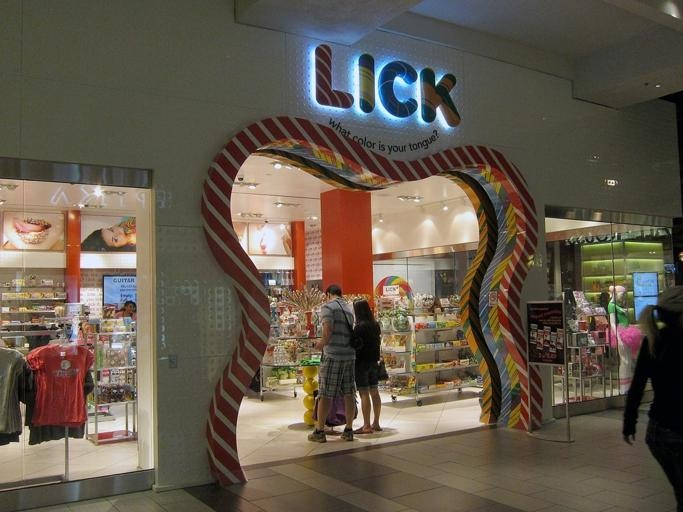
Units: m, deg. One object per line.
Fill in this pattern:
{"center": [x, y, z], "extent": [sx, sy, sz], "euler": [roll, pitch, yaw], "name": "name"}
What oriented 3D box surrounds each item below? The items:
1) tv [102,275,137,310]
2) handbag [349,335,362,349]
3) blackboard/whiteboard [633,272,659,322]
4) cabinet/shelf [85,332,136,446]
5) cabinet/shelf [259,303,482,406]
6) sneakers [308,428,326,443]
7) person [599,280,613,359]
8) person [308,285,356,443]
{"center": [-2.256, 0.371, 5.947], "extent": [0.295, 0.312, 0.029], "euler": [-10, -2, -8], "name": "tv"}
{"center": [0.179, 1.093, 7.384], "extent": [0.114, 0.161, 0.154], "euler": [0, -4, 39], "name": "handbag"}
{"center": [4.205, 0.565, 8.183], "extent": [0.756, 0.908, 0.045], "euler": [2, -1, -26], "name": "blackboard/whiteboard"}
{"center": [-2.304, 1.325, 5.923], "extent": [0.468, 1.081, 0.275], "euler": [1, -2, -23], "name": "cabinet/shelf"}
{"center": [1.199, 1.629, 10.452], "extent": [1.798, 1.846, 2.715], "euler": [-8, -9, 42], "name": "cabinet/shelf"}
{"center": [-0.286, 2.275, 7.426], "extent": [0.111, 0.123, 0.261], "euler": [1, -3, -19], "name": "sneakers"}
{"center": [4.054, 1.009, 9.021], "extent": [0.359, 1.102, 0.111], "euler": [2, -3, -45], "name": "person"}
{"center": [-0.103, 1.364, 7.363], "extent": [0.574, 1.965, 0.404], "euler": [0, -2, -3], "name": "person"}
